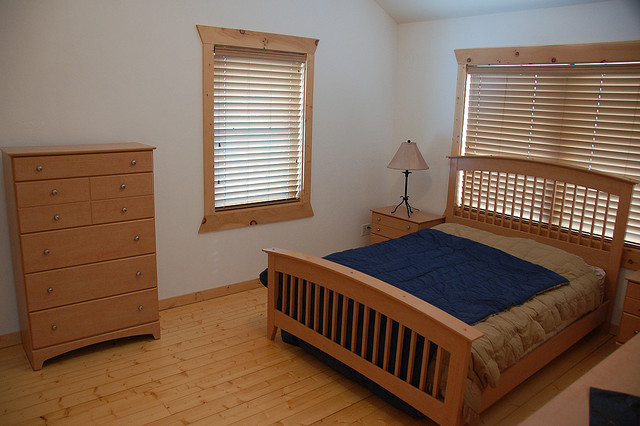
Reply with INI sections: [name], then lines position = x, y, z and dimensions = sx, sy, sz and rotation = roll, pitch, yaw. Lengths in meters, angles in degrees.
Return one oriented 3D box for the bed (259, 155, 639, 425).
[bed]
position = 1.323, 0.621, 4.295
dimensions = 3.120, 1.813, 2.469
rotation = -11, 17, -40
